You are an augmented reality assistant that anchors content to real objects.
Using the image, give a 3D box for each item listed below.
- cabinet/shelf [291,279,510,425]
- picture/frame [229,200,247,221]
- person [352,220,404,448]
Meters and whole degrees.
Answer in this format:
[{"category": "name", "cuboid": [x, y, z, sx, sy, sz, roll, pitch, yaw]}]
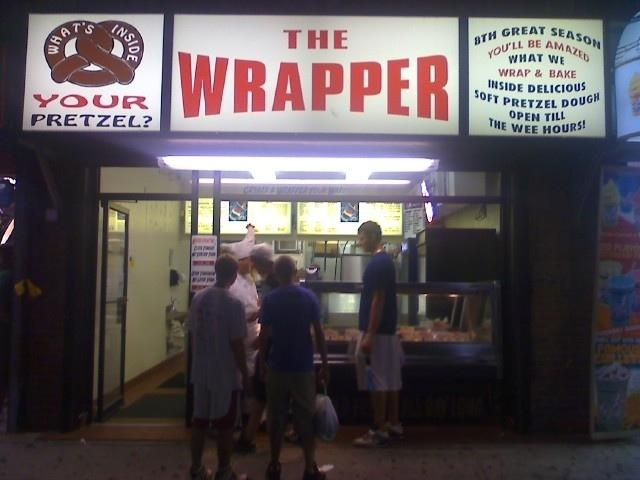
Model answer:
[{"category": "cabinet/shelf", "cuboid": [0.947, 1.288, 7.350, 2.049, 1.622, 1.316, 1, -2, 2]}, {"category": "picture/frame", "cuboid": [-1.148, -0.408, 8.418, 0.232, 0.253, 0.079, 1, 3, 1]}, {"category": "person", "cuboid": [0.627, 1.003, 6.449, 0.491, 2.235, 0.805, 1, 13, 5]}]
